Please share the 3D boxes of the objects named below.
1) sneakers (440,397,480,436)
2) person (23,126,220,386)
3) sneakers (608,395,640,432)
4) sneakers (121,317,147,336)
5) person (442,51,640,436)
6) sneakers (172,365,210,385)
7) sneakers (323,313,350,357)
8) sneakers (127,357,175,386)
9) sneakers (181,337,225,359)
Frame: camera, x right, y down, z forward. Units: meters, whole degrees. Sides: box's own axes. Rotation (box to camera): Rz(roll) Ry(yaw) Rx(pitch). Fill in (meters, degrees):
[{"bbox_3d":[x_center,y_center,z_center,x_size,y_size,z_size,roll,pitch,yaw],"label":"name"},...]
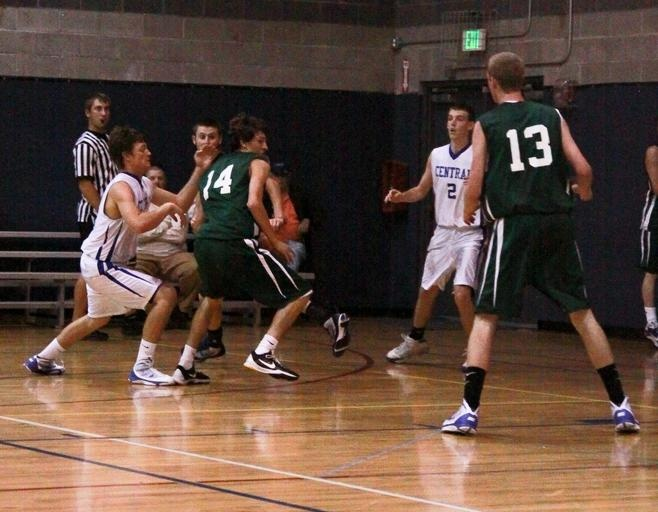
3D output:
[{"bbox_3d":[0.672,0.846,4.214,0.129,0.179,0.373,17,-19,-5],"label":"sneakers"},{"bbox_3d":[-1.314,-0.009,5.504,1.007,1.660,0.784,2,2,30],"label":"person"},{"bbox_3d":[1.542,0.789,4.301,0.119,0.176,0.348,-15,1,18],"label":"sneakers"},{"bbox_3d":[-1.926,0.699,7.972,0.132,0.186,0.405,3,-9,-16],"label":"sneakers"},{"bbox_3d":[1.062,-0.081,4.237,0.929,1.965,0.497,1,2,4],"label":"person"},{"bbox_3d":[-0.916,0.778,5.378,0.296,0.149,0.099,3,0,-34],"label":"sneakers"},{"bbox_3d":[0.060,0.572,5.520,0.120,0.362,0.154,-18,28,-28],"label":"sneakers"},{"bbox_3d":[-1.172,0.764,5.359,0.344,0.178,0.133,3,-2,8],"label":"sneakers"},{"bbox_3d":[-0.935,0.684,6.002,0.290,0.221,0.101,0,2,-23],"label":"sneakers"}]
